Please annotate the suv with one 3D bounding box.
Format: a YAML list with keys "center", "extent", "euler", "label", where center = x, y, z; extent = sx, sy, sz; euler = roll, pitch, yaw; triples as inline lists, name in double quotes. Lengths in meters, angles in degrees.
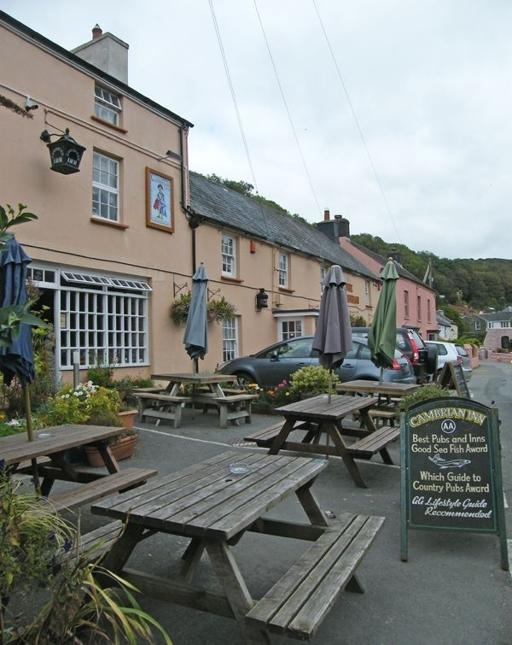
- center: [3.365, 0.837, 13.185]
  extent: [2.365, 1.252, 1.404]
  euler: [2, 1, 20]
  label: "suv"

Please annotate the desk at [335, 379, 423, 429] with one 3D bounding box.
- center: [2.097, 1.186, 8.502]
  extent: [1.319, 0.873, 1.236]
  euler: [0, 4, 32]
  label: "desk"

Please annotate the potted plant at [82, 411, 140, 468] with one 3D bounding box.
- center: [-1.787, 1.545, 6.759]
  extent: [0.672, 0.378, 0.995]
  euler: [-2, -4, 23]
  label: "potted plant"

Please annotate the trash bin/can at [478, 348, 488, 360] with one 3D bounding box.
- center: [21.495, 3.054, 49.048]
  extent: [0.849, 0.965, 0.871]
  euler: [6, 10, 42]
  label: "trash bin/can"

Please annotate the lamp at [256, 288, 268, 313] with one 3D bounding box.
- center: [0.226, -0.737, 17.147]
  extent: [0.344, 0.773, 0.613]
  euler: [0, -2, 23]
  label: "lamp"

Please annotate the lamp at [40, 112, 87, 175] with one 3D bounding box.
- center: [-3.470, -3.569, 9.688]
  extent: [0.838, 1.230, 0.457]
  euler: [9, 14, 42]
  label: "lamp"

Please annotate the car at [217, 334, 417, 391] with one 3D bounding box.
- center: [1.145, 0.919, 11.162]
  extent: [3.136, 1.092, 1.535]
  euler: [3, -2, 24]
  label: "car"

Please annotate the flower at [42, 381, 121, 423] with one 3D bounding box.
- center: [-2.478, 1.164, 7.179]
  extent: [0.675, 0.430, 0.621]
  euler: [-1, -2, 45]
  label: "flower"

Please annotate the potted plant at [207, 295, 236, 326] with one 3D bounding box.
- center: [-0.953, -0.304, 14.249]
  extent: [0.720, 0.726, 0.722]
  euler: [-1, -4, -12]
  label: "potted plant"

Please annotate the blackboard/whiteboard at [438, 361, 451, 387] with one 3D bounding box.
- center: [3.544, 1.001, 9.706]
  extent: [0.191, 0.461, 0.876]
  euler: [0, -2, 22]
  label: "blackboard/whiteboard"
